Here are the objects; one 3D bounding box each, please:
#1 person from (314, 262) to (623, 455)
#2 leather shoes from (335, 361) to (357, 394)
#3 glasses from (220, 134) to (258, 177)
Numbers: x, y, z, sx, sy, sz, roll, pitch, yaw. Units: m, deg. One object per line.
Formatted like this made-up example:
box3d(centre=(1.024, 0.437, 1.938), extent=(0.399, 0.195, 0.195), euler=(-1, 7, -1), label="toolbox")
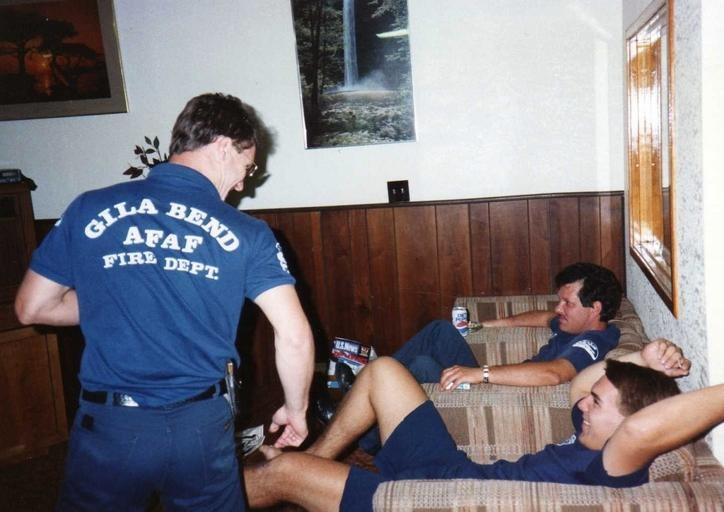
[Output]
box3d(centre=(0.775, 0.449, 3.089), extent=(1.141, 0.940, 1.171), euler=(2, 17, 17), label="person")
box3d(centre=(-0.102, 0.714, 3.270), extent=(0.095, 0.105, 0.253), euler=(1, 9, 0), label="leather shoes")
box3d(centre=(-0.465, -0.377, 2.065), extent=(0.173, 0.099, 0.221), euler=(0, 3, -8), label="glasses")
